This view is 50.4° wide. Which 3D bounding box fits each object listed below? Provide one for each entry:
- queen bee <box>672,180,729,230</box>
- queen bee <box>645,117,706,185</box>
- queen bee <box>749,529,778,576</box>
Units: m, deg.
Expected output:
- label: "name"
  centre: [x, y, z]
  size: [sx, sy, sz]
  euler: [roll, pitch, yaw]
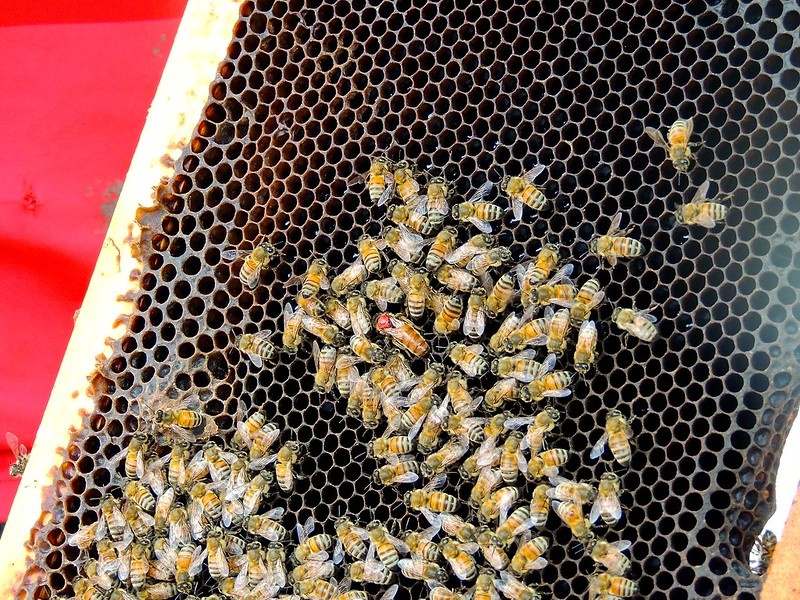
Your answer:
- label: "queen bee"
  centre: [1.872, -0.560, 5.291]
  size: [0.281, 0.271, 0.110]
  euler: [-8, 9, 12]
- label: "queen bee"
  centre: [1.778, -0.957, 5.408]
  size: [0.245, 0.377, 0.111]
  euler: [-17, -46, 16]
- label: "queen bee"
  centre: [2.149, 1.498, 5.036]
  size: [0.059, 0.238, 0.164]
  euler: [-3, 26, -18]
